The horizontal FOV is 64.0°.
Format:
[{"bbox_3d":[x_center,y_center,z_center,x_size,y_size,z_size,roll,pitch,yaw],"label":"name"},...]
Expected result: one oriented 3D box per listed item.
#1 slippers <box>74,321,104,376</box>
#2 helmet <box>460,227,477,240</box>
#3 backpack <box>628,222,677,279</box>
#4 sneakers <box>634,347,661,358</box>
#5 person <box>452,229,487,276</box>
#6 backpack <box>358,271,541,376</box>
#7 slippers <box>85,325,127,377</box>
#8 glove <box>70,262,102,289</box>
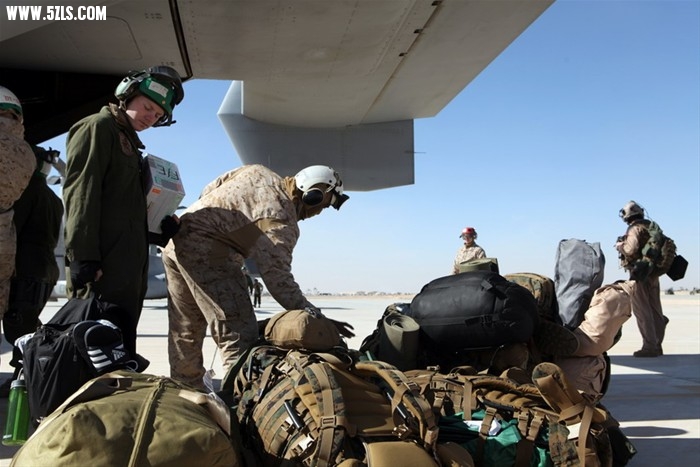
[{"bbox_3d":[-1.431,0.595,3.082,0.109,0.326,0.126,-8,7,-4],"label":"slippers"},{"bbox_3d":[1.864,0.016,8.769,0.158,0.199,0.216,4,9,22],"label":"helmet"},{"bbox_3d":[4.133,0.268,7.722,0.420,0.627,0.471,27,-6,42],"label":"backpack"},{"bbox_3d":[4.163,1.647,7.812,0.386,0.196,0.147,0,-3,2],"label":"sneakers"},{"bbox_3d":[2.215,0.200,10.374,0.474,0.620,0.895,0,-3,9],"label":"person"},{"bbox_3d":[0.745,0.611,3.788,1.067,0.471,0.798,2,-5,-32],"label":"backpack"},{"bbox_3d":[-1.342,0.633,3.068,0.155,0.294,0.103,-12,-5,-37],"label":"slippers"},{"bbox_3d":[-1.662,0.249,3.578,0.145,0.162,0.183,4,12,-3],"label":"glove"}]
